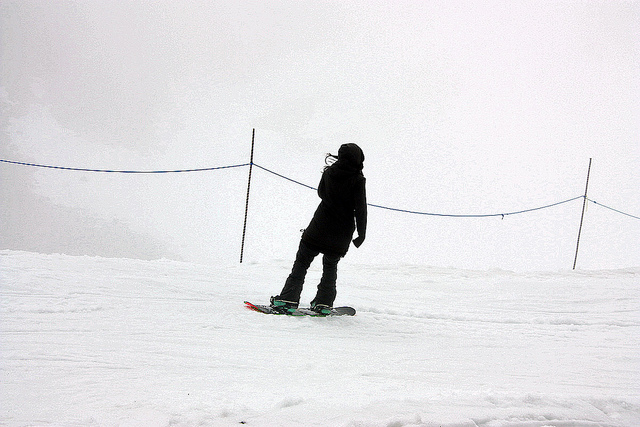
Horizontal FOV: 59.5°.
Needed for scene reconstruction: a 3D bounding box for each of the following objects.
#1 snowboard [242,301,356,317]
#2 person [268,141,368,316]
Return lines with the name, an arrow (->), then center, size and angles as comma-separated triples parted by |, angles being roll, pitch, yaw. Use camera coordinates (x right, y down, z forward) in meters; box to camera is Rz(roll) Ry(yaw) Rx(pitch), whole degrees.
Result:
snowboard -> -0.216, 1.107, 6.518 | 1.236, 0.111, 0.475 | 1, 5, -20
person -> 0.059, 0.180, 6.518 | 0.906, 1.981, 0.433 | 4, 5, -1
